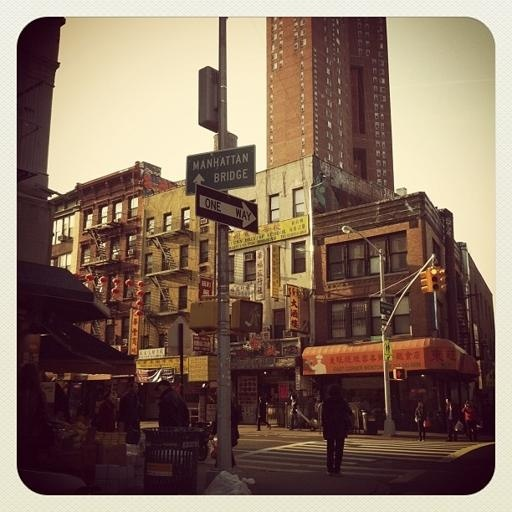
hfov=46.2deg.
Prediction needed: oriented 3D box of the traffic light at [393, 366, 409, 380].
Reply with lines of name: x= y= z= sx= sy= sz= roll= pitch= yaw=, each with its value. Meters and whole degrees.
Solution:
traffic light: x=5.816 y=4.709 z=24.316 sx=0.472 sy=0.532 sz=1.307 roll=-5 pitch=-16 yaw=16

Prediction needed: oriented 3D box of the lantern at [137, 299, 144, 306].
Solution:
lantern: x=-6.846 y=2.723 z=35.463 sx=0.418 sy=0.518 sz=0.457 roll=2 pitch=-2 yaw=25

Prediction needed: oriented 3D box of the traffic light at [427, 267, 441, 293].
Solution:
traffic light: x=5.641 y=0.685 z=18.858 sx=0.318 sy=0.846 sz=0.626 roll=-1 pitch=-14 yaw=2

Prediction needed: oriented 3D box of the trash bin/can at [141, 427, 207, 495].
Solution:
trash bin/can: x=-1.345 y=3.437 z=10.155 sx=0.892 sy=1.192 sz=0.894 roll=0 pitch=-20 yaw=-1

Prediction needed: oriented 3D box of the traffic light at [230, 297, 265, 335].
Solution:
traffic light: x=-0.188 y=1.154 z=11.628 sx=0.467 sy=0.676 sz=1.153 roll=-6 pitch=-16 yaw=23

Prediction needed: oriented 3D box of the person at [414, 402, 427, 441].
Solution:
person: x=5.886 y=5.873 z=21.421 sx=0.334 sy=1.323 sz=0.620 roll=-4 pitch=-13 yaw=15

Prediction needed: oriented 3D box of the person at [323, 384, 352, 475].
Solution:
person: x=1.730 y=3.702 z=12.874 sx=0.602 sy=1.825 sz=0.828 roll=-2 pitch=-13 yaw=6

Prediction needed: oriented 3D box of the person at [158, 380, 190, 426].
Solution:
person: x=-1.531 y=2.762 z=11.347 sx=0.553 sy=0.880 sz=0.788 roll=2 pitch=-14 yaw=-10

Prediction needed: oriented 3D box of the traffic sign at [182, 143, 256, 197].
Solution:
traffic sign: x=-0.624 y=-1.540 z=10.696 sx=1.711 sy=1.217 sz=0.035 roll=-7 pitch=-15 yaw=20

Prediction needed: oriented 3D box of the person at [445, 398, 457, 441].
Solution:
person: x=7.141 y=5.963 z=21.951 sx=0.335 sy=1.462 sz=1.146 roll=-4 pitch=-14 yaw=17

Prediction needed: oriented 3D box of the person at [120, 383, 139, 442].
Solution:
person: x=-2.603 y=3.238 z=12.478 sx=0.404 sy=1.252 sz=0.721 roll=3 pitch=-14 yaw=-16

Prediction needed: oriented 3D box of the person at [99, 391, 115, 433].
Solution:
person: x=-3.234 y=3.404 z=13.110 sx=0.348 sy=0.807 sz=0.999 roll=3 pitch=-15 yaw=-14

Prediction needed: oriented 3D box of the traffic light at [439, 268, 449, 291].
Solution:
traffic light: x=5.938 y=0.759 z=19.121 sx=0.193 sy=0.807 sz=1.095 roll=-5 pitch=-15 yaw=20

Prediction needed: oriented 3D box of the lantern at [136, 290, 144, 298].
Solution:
lantern: x=-7.118 y=2.315 z=36.991 sx=0.479 sy=0.600 sz=0.541 roll=2 pitch=-12 yaw=-1

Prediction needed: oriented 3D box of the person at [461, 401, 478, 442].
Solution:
person: x=8.063 y=6.173 z=22.603 sx=0.440 sy=1.437 sz=1.445 roll=-5 pitch=-15 yaw=19

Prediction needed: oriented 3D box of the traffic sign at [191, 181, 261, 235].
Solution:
traffic sign: x=-0.496 y=-0.873 z=10.854 sx=0.277 sy=0.674 sz=1.554 roll=-12 pitch=-19 yaw=41
